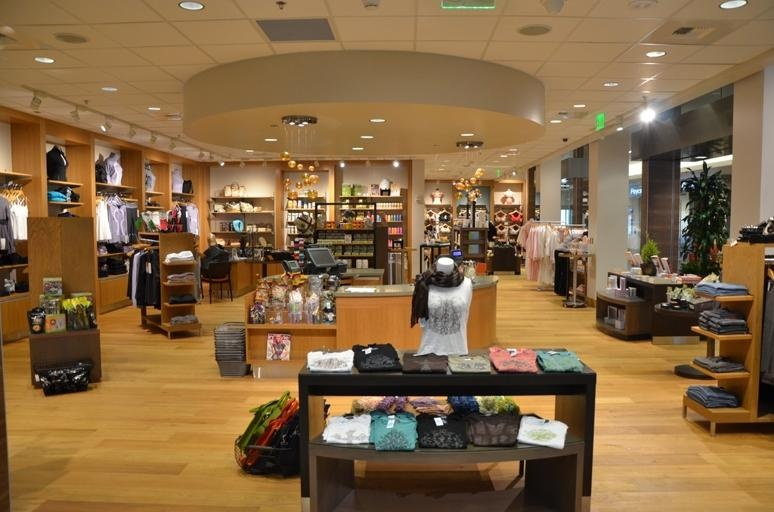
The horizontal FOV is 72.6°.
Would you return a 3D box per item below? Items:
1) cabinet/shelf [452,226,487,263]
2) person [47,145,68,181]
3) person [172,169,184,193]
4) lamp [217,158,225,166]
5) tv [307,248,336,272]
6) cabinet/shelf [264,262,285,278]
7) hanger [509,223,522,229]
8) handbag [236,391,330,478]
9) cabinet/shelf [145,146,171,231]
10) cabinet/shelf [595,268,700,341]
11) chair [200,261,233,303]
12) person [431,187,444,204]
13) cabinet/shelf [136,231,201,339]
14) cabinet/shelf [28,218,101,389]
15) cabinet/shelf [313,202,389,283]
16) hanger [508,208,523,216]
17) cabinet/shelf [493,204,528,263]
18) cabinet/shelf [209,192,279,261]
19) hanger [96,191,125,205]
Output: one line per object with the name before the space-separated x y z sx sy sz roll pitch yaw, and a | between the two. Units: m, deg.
cabinet/shelf | 2.688 -0.374 16.629 1.362 1.183 0.540 -1 -5 15
person | -6.822 -1.891 10.811 0.278 0.732 0.529 0 3 -12
person | -6.156 -2.213 15.475 0.276 0.752 0.738 -1 3 -17
lamp | -5.064 -2.829 16.085 0.150 0.134 0.259 -7 9 -12
tv | -1.181 0.081 9.288 0.195 0.338 0.380 -37 -12 27
cabinet/shelf | -2.866 0.325 13.220 0.501 0.429 0.256 -1 -7 -7
hanger | 5.406 -1.222 22.158 0.500 0.319 0.553 1 3 12
handbag | -1.043 2.017 6.005 0.891 1.023 0.460 4 -34 31
cabinet/shelf | -6.282 -1.993 14.478 0.620 1.596 1.052 -1 4 -21
cabinet/shelf | 4.792 1.015 9.977 1.231 1.003 1.660 1 0 -3
chair | -4.387 0.636 13.603 0.741 1.016 1.093 0 3 -9
person | 2.251 -2.621 23.299 0.481 0.749 0.500 2 4 23
cabinet/shelf | -4.305 0.608 10.284 0.755 1.886 2.250 0 0 -34
cabinet/shelf | -4.793 0.658 7.801 0.878 2.452 0.694 -2 4 -33
cabinet/shelf | -0.941 -0.452 13.653 1.710 2.021 5.461 0 3 -6
hanger | 5.613 -1.900 22.930 0.785 0.042 0.770 -2 25 1
cabinet/shelf | 5.192 -1.329 22.156 1.390 1.847 2.401 1 3 10
cabinet/shelf | -4.314 -0.899 16.080 2.398 2.327 0.728 0 -1 -2
hanger | -6.616 -1.376 12.499 0.464 0.403 0.111 5 6 4
